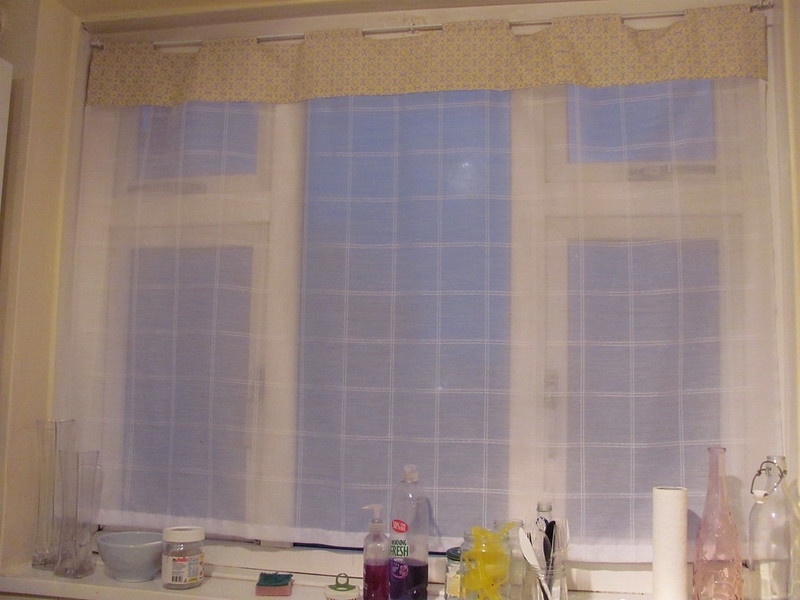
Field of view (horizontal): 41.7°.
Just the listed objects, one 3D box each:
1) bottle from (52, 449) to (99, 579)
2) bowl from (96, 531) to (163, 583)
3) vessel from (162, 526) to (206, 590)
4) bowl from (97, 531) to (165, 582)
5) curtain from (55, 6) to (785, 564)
[{"bbox_3d":[-1.044,0.687,3.386,0.137,0.403,0.184,2,-10,-22],"label":"bottle"},{"bbox_3d":[-0.873,0.831,3.396,0.201,0.146,0.207,-1,-7,0],"label":"bowl"},{"bbox_3d":[-0.689,0.821,3.349,0.135,0.186,0.138,0,-9,-10],"label":"vessel"},{"bbox_3d":[-0.847,0.819,3.324,0.188,0.091,0.176,-1,-15,0],"label":"bowl"},{"bbox_3d":[0.155,-0.013,3.386,2.692,1.275,0.181,0,-2,7],"label":"curtain"}]
